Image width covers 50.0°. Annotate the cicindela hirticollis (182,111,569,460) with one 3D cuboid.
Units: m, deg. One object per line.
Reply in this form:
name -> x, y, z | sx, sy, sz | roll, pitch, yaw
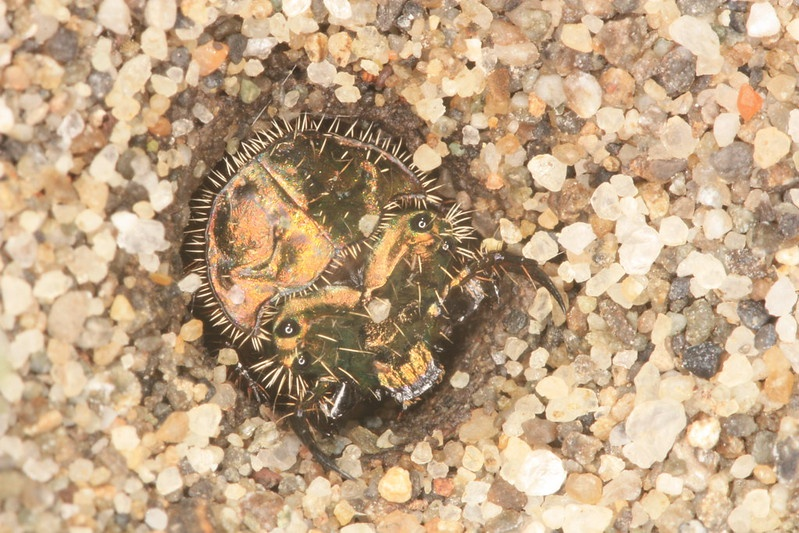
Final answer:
cicindela hirticollis -> -0.163, 0.009, 2.188 | 0.783, 0.119, 0.734 | 44, 84, 1
